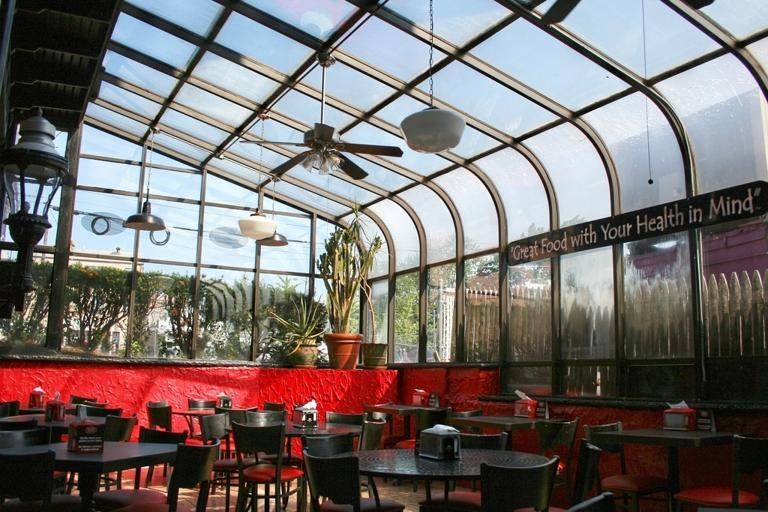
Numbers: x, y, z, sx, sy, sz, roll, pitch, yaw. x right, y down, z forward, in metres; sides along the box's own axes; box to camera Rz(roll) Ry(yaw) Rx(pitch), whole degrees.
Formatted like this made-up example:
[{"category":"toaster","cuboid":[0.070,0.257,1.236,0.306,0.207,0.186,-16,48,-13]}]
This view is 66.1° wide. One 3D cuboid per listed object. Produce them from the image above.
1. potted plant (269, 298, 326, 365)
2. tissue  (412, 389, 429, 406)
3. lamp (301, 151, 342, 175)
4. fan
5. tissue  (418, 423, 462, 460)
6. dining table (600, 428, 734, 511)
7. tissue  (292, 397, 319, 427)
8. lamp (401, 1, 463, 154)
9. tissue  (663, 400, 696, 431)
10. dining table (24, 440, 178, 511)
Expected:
[{"category":"potted plant","cuboid":[-1.534,1.522,11.768,1.323,1.307,1.280,-12,-19,37]},{"category":"tissue ","cuboid":[0.550,2.238,9.579,0.253,0.339,0.370,-9,-15,27]},{"category":"lamp","cuboid":[-0.791,-1.225,7.542,0.313,0.125,0.307,4,-8,-31]},{"category":"fan","cuboid":[-0.727,-1.938,7.901,1.331,1.855,1.526,6,-14,-17]},{"category":"tissue ","cuboid":[0.501,1.638,5.177,0.235,0.263,0.362,8,-14,-33]},{"category":"dining table","cuboid":[2.854,1.898,6.191,1.101,1.039,1.086,4,-6,-39]},{"category":"tissue ","cuboid":[-0.975,1.901,7.117,0.295,0.479,0.490,6,-22,-19]},{"category":"lamp","cuboid":[0.582,-2.034,6.712,0.627,2.159,1.404,0,-13,6]},{"category":"tissue ","cuboid":[3.251,1.758,6.556,0.329,0.299,0.308,6,-5,-23]},{"category":"dining table","cuboid":[-2.289,1.619,4.916,0.826,0.755,0.817,-3,-9,19]}]
